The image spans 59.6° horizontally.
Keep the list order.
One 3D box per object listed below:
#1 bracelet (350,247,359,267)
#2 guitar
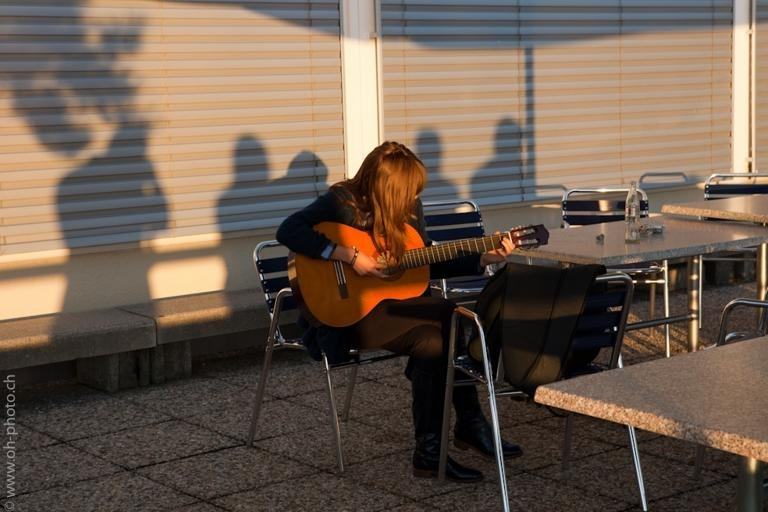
[{"bbox_3d":[-0.150,0.006,3.512,0.022,0.075,0.062,28,4,-5],"label":"bracelet"},{"bbox_3d":[0.233,-0.017,3.832,1.694,0.520,0.188,-14,1,-31],"label":"guitar"}]
